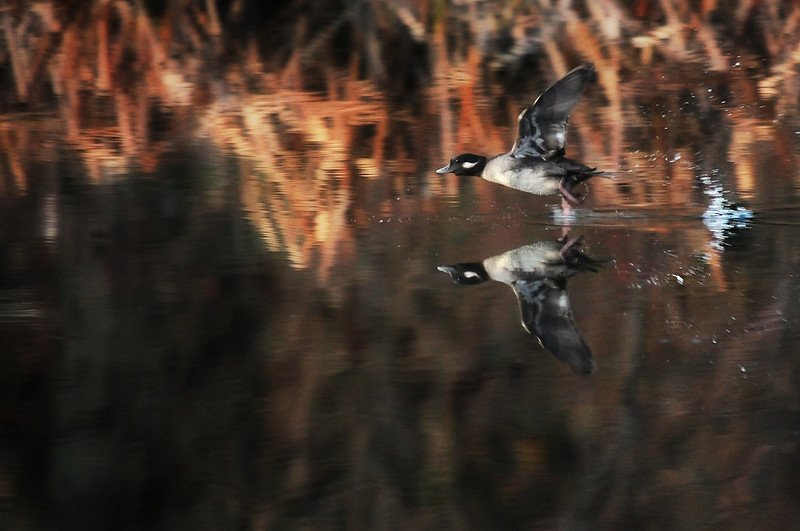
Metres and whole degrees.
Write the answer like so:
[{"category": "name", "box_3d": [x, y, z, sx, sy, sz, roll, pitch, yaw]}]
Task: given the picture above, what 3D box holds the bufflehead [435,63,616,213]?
[{"category": "bufflehead", "box_3d": [0.515, -0.427, 3.243, 0.759, 0.354, 0.708, -15, 15, 19]}]
